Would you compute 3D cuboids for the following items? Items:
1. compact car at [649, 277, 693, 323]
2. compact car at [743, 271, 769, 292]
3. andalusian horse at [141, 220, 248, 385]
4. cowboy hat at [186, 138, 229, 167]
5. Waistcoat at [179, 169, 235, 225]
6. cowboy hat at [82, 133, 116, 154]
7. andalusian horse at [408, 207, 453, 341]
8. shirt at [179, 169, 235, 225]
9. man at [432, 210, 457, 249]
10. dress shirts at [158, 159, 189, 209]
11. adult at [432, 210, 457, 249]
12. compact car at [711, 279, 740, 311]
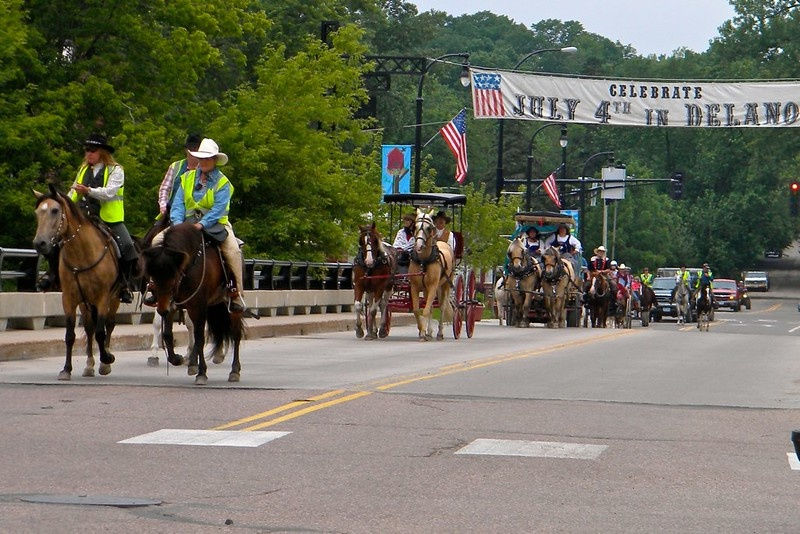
[{"bbox_3d":[11.888,1.553,58.141,1.631,1.357,2.709,-1,-6,17],"label":"compact car"},{"bbox_3d":[29.887,1.201,110.352,2.638,1.439,4.587,-1,-2,13],"label":"compact car"},{"bbox_3d":[-3.041,0.548,19.735,0.966,2.388,1.871,4,4,14],"label":"andalusian horse"},{"bbox_3d":[-2.904,-1.771,20.087,0.457,0.181,0.478,3,-11,14],"label":"cowboy hat"},{"bbox_3d":[-3.003,-1.037,20.063,0.765,0.865,0.578,2,4,-9],"label":"Waistcoat"},{"bbox_3d":[-4.614,-1.967,20.361,0.480,0.157,0.406,20,-15,-39],"label":"cowboy hat"},{"bbox_3d":[0.667,0.239,30.230,0.956,3.055,1.934,3,4,6],"label":"andalusian horse"},{"bbox_3d":[-3.003,-1.037,20.063,0.765,0.865,0.578,2,4,-9],"label":"shirt"},{"bbox_3d":[0.970,-0.814,32.186,0.533,1.064,1.568,11,6,9],"label":"man"},{"bbox_3d":[-3.644,-1.330,20.951,0.616,0.259,0.804,4,-42,-29],"label":"dress shirts"},{"bbox_3d":[0.972,-0.840,32.167,0.526,1.068,1.598,12,7,8],"label":"adult"},{"bbox_3d":[18.263,1.541,74.611,2.283,1.627,4.401,-2,-7,13],"label":"compact car"}]
